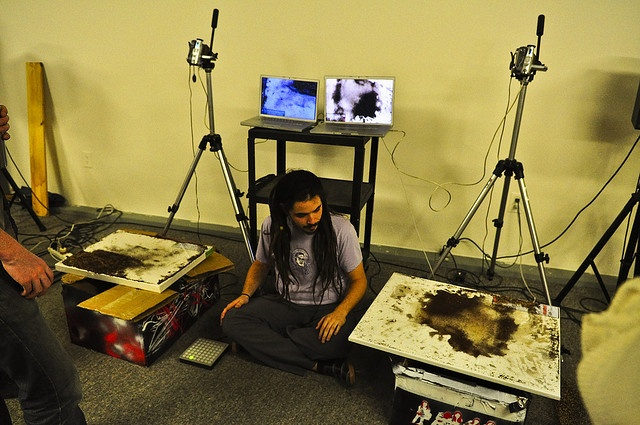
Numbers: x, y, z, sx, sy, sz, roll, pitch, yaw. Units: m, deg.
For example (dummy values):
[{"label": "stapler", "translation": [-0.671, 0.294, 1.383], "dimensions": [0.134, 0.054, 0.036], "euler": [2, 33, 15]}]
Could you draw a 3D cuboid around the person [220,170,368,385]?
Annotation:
[{"label": "person", "translation": [-0.121, 0.347, 2.803], "dimensions": [0.877, 1.059, 0.929], "euler": [-13, 22, -30]}]

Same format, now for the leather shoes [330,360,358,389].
[{"label": "leather shoes", "translation": [0.124, 0.906, 2.783], "dimensions": [0.075, 0.094, 0.221], "euler": [-46, 15, -16]}]

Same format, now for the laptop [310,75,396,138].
[{"label": "laptop", "translation": [0.270, -0.759, 3.433], "dimensions": [0.644, 0.426, 0.444], "euler": [6, 24, 13]}]

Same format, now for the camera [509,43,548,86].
[{"label": "camera", "translation": [1.288, -0.919, 3.046], "dimensions": [0.183, 0.227, 0.183], "euler": [5, 25, 4]}]

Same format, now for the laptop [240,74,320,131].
[{"label": "laptop", "translation": [-0.271, -0.756, 3.429], "dimensions": [0.628, 0.397, 0.420], "euler": [8, 22, 15]}]

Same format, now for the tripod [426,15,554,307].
[{"label": "tripod", "translation": [1.301, -0.346, 3.288], "dimensions": [0.805, 1.816, 0.901], "euler": [10, 26, 14]}]

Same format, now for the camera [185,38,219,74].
[{"label": "camera", "translation": [-0.795, -1.057, 3.292], "dimensions": [0.242, 0.190, 0.102], "euler": [16, 8, -11]}]
